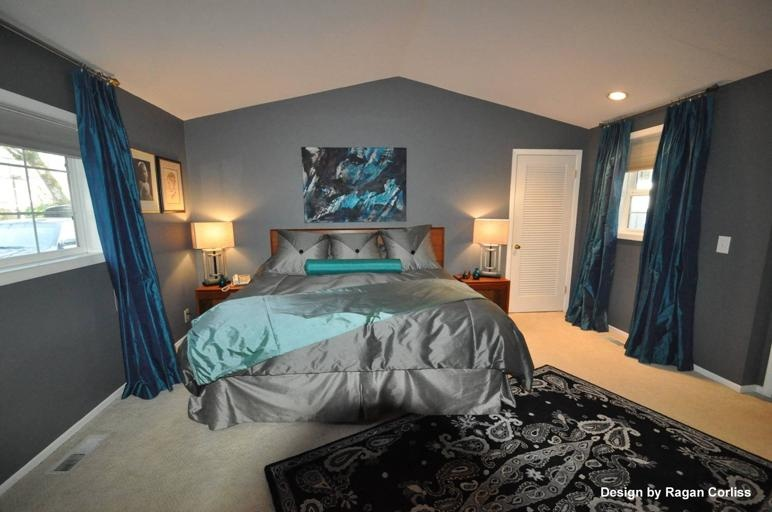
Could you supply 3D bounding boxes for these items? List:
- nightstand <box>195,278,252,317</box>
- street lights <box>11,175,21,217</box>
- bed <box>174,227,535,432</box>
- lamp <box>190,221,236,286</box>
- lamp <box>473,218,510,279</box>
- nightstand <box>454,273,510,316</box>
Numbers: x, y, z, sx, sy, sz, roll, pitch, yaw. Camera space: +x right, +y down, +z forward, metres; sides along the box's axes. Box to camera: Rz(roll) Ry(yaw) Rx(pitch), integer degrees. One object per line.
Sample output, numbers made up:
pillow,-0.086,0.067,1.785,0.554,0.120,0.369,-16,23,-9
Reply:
nightstand,-1.930,0.576,5.560,0.516,0.473,0.286,-1,14,-8
street lights,-3.016,-0.497,3.814,0.026,0.286,0.059,5,7,26
bed,-0.293,0.783,4.988,2.143,0.972,2.030,-1,7,-2
lamp,-2.027,-0.054,5.631,0.526,0.625,0.521,1,0,10
lamp,1.324,-0.087,5.953,0.471,0.729,0.465,1,-1,-4
nightstand,1.212,0.476,5.949,0.567,0.491,0.429,-1,19,-3
